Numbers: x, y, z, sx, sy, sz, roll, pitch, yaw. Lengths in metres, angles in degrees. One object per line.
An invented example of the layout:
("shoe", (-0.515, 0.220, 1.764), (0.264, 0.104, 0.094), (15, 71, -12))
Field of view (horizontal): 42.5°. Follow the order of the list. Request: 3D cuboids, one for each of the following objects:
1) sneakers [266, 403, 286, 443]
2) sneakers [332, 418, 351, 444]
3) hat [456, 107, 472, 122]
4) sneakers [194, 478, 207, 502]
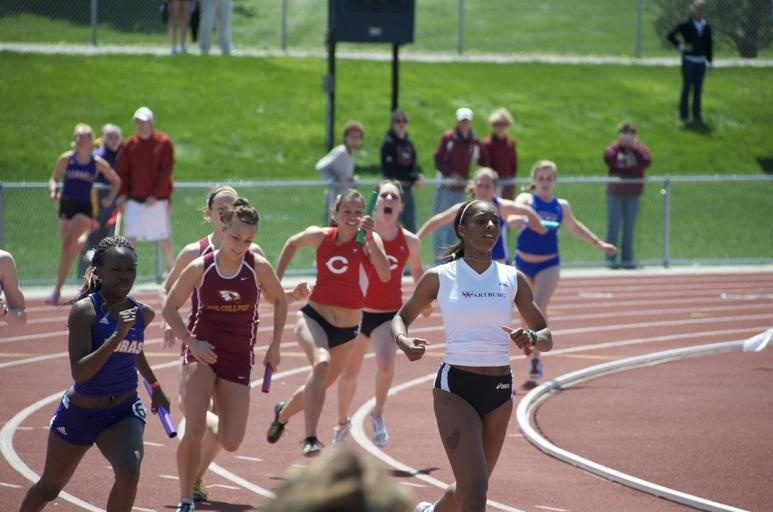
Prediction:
("sneakers", (-1.215, 1.934, 11.232), (0.194, 0.527, 0.165), (-6, -26, 44))
("sneakers", (-0.523, 2.107, 11.794), (0.145, 0.372, 0.125), (4, 18, -36))
("hat", (1.481, -2.664, 18.632), (0.365, 0.213, 0.549), (-1, 9, 3))
("sneakers", (-2.003, 2.555, 10.706), (0.153, 0.214, 0.117), (-3, 13, -13))
